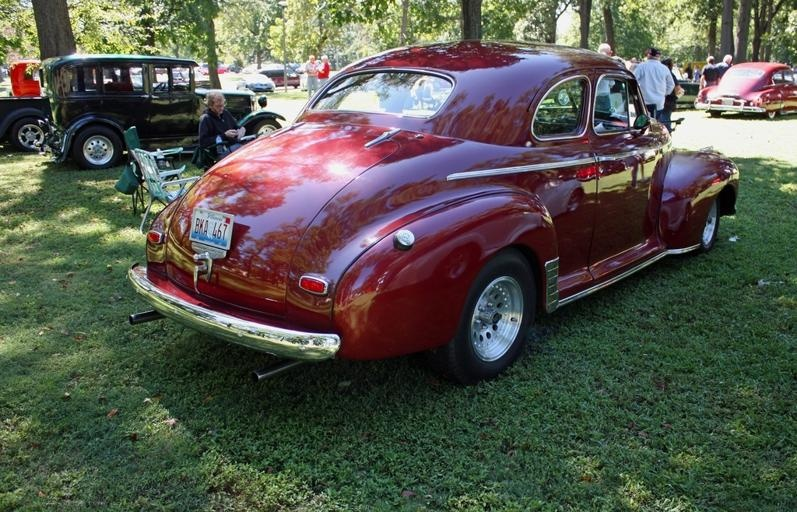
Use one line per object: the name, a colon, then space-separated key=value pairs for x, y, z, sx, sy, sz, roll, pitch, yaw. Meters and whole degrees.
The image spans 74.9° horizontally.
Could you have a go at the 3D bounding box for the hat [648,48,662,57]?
hat: x=5.372 y=-4.259 z=10.922 sx=0.202 sy=0.248 sz=0.255 roll=21 pitch=28 yaw=27

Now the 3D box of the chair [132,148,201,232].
chair: x=-3.425 y=-0.983 z=7.861 sx=0.834 sy=0.934 sz=0.828 roll=7 pitch=12 yaw=5

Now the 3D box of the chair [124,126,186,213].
chair: x=-4.154 y=-1.402 z=8.631 sx=0.989 sy=1.163 sz=0.964 roll=8 pitch=8 yaw=-24
